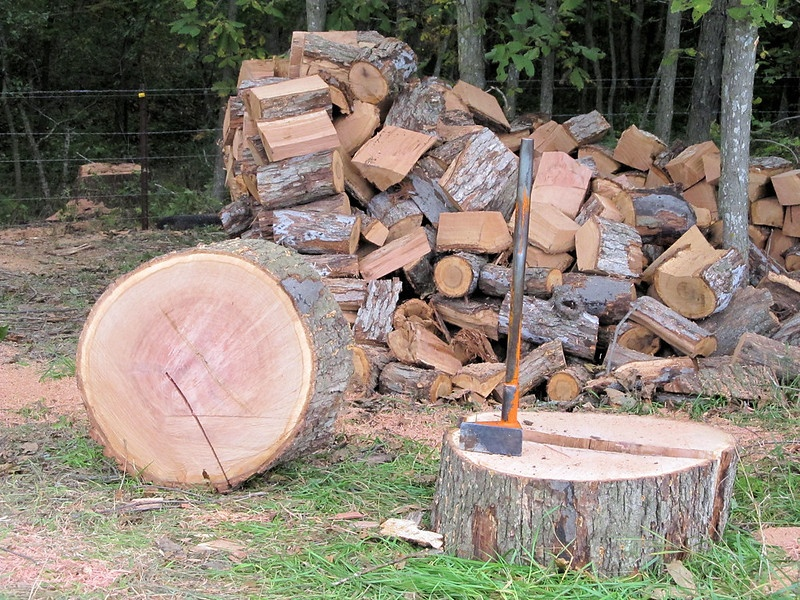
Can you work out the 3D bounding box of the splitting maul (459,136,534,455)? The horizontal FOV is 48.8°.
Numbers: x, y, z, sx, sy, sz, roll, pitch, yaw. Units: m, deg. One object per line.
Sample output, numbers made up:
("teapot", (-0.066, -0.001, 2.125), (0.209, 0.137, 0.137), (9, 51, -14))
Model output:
("splitting maul", (0.560, -0.009, 5.139), (0.390, 1.827, 0.283), (1, 7, 3))
